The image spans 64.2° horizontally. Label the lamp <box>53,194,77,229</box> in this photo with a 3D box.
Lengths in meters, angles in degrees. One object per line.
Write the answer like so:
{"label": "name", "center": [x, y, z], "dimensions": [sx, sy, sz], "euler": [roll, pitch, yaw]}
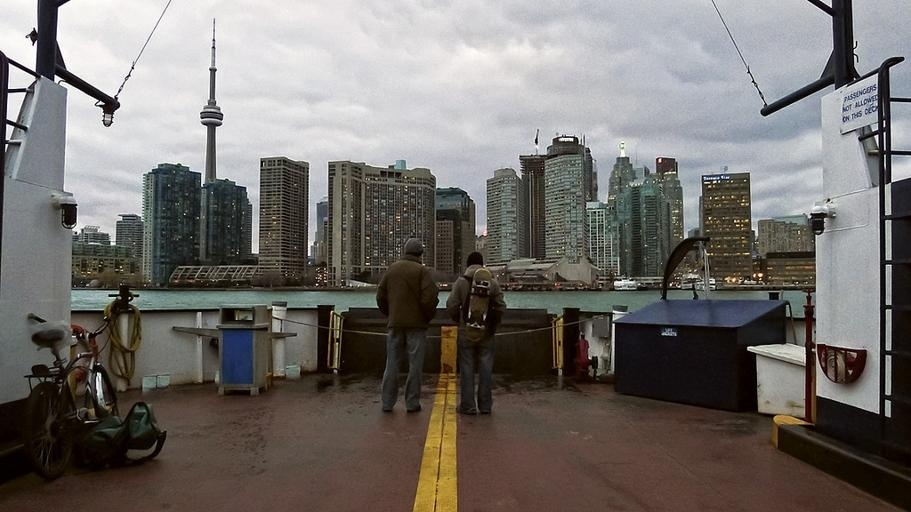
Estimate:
{"label": "lamp", "center": [-5.462, -0.643, 10.214], "dimensions": [0.260, 0.526, 0.167], "euler": [1, 10, 9]}

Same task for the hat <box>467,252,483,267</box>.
{"label": "hat", "center": [0.335, 0.038, 12.246], "dimensions": [0.239, 0.270, 0.280], "euler": [2, -3, 1]}

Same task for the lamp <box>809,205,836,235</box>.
{"label": "lamp", "center": [5.083, -0.520, 10.126], "dimensions": [0.347, 0.483, 0.235], "euler": [2, 10, 11]}

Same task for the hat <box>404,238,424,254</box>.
{"label": "hat", "center": [-0.702, -0.179, 12.264], "dimensions": [0.241, 0.164, 0.310], "euler": [2, 11, -4]}

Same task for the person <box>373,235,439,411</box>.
{"label": "person", "center": [-0.789, 1.145, 12.098], "dimensions": [0.976, 2.814, 1.043], "euler": [-1, 10, -5]}

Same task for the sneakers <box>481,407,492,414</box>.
{"label": "sneakers", "center": [0.515, 2.520, 11.790], "dimensions": [0.198, 0.066, 0.203], "euler": [-2, 9, -9]}
